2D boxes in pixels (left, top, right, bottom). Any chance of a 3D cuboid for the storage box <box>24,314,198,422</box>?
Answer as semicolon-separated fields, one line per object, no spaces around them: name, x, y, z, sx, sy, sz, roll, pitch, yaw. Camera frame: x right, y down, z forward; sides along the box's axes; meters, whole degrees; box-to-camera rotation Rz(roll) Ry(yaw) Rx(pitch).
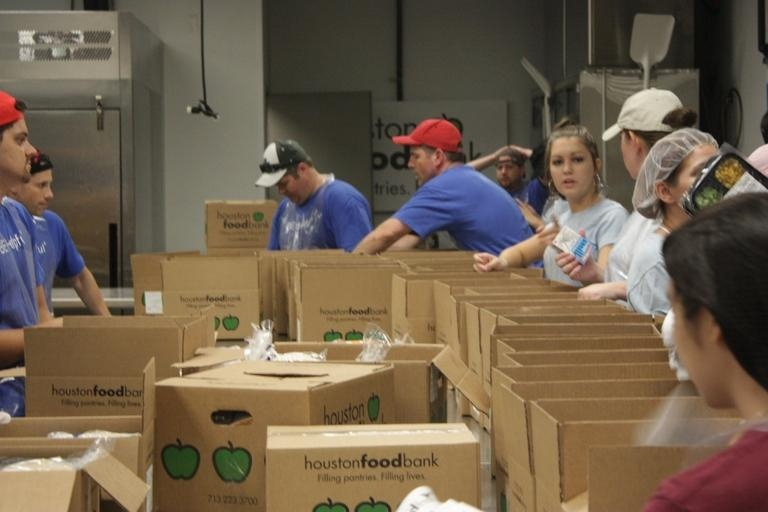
storage box;-0.926;0.281;2.860;0.396;0.257;0.310;0;1;2

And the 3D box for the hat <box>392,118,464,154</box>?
hat;0.230;-0.658;4.702;0.372;0.195;0.258;2;6;4

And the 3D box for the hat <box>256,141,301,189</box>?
hat;-0.605;-0.523;4.927;0.243;0.254;0.354;-9;12;-36

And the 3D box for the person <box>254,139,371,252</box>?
person;-0.382;-0.299;5.024;0.539;0.774;0.789;-13;6;-29

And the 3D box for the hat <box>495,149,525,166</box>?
hat;0.889;-0.685;6.012;0.128;0.134;0.107;8;-3;6

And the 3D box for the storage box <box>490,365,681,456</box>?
storage box;0.532;0.385;2.429;0.307;0.233;0.341;-2;2;6

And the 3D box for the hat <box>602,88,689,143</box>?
hat;1.079;-0.586;3.626;0.301;0.200;0.231;0;6;24

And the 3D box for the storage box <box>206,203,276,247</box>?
storage box;-0.917;-0.194;5.432;0.301;0.224;0.329;0;1;-4
